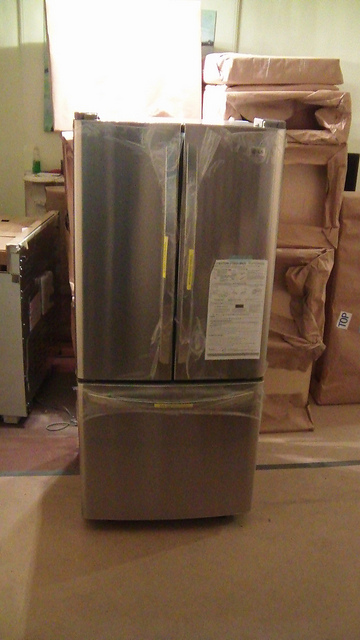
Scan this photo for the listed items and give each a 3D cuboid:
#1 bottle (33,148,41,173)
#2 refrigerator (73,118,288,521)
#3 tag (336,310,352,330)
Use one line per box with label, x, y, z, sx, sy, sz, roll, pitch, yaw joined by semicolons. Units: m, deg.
bottle;-0.960;-1.071;3.113;0.046;0.159;0.075;-2;14;-15
refrigerator;-0.030;0.007;1.767;0.548;1.575;0.650;0;14;-6
tag;0.937;-0.007;2.652;0.075;0.120;0.011;10;17;-7
